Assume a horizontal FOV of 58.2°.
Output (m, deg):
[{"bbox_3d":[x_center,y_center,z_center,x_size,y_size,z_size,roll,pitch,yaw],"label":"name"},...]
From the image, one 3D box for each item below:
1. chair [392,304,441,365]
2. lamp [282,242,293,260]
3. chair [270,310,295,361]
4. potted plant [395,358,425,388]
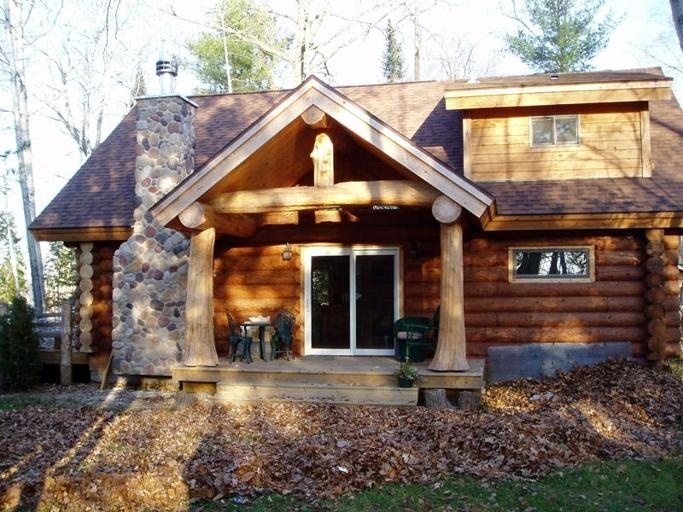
[{"bbox_3d":[1.542,1.707,12.843,1.298,1.202,1.021,0,-2,-3],"label":"chair"},{"bbox_3d":[-1.248,-0.099,14.001,0.249,0.385,0.177,-1,-2,-7],"label":"lamp"},{"bbox_3d":[-1.252,1.709,13.474,0.483,1.046,0.725,-2,-2,7],"label":"chair"},{"bbox_3d":[1.270,2.210,11.441,0.467,0.396,0.447,1,-7,11],"label":"potted plant"}]
